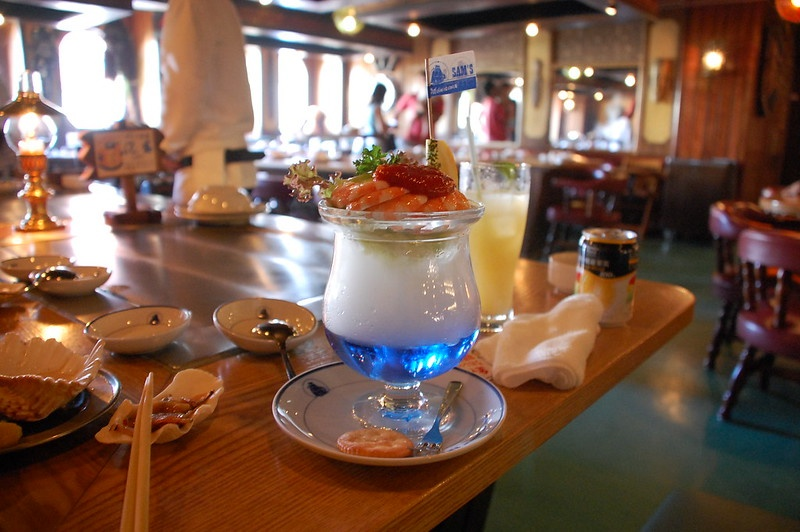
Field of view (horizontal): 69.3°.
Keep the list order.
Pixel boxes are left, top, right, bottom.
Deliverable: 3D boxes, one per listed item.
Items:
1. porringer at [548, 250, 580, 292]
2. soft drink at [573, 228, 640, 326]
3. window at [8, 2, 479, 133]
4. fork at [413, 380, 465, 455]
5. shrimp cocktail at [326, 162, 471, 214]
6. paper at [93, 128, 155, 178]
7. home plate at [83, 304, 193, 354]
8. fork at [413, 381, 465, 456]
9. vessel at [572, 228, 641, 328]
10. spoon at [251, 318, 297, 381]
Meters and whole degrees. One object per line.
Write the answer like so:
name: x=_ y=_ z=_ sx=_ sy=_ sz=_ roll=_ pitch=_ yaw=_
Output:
porringer: x=0.445 y=0.013 z=1.625 sx=0.104 sy=0.077 sz=0.097 roll=7 pitch=12 yaw=18
soft drink: x=0.515 y=0.029 z=1.437 sx=0.143 sy=0.226 sz=0.142 roll=-3 pitch=14 yaw=-6
window: x=-1.432 y=-2.193 z=6.212 sx=4.356 sy=0.955 sz=1.821 roll=-7 pitch=16 yaw=-42
fork: x=0.068 y=0.255 z=1.018 sx=0.033 sy=0.025 sz=0.223 roll=11 pitch=19 yaw=15
shrimp cocktail: x=-0.004 y=-0.136 z=1.020 sx=0.261 sy=0.081 sz=0.088 roll=-3 pitch=17 yaw=-5
paper: x=-1.118 y=-0.459 z=2.317 sx=0.213 sy=0.148 sz=0.028 roll=-3 pitch=9 yaw=-20
home plate: x=-0.567 y=0.140 z=1.244 sx=0.191 sy=0.052 sz=0.199 roll=16 pitch=22 yaw=38
fork: x=0.066 y=0.268 z=1.013 sx=0.033 sy=0.026 sz=0.226 roll=10 pitch=19 yaw=13
vessel: x=0.516 y=0.029 z=1.441 sx=0.149 sy=0.229 sz=0.140 roll=-13 pitch=20 yaw=-27
spoon: x=-0.256 y=0.162 z=1.193 sx=0.074 sy=0.023 sz=0.131 roll=1 pitch=43 yaw=-36
